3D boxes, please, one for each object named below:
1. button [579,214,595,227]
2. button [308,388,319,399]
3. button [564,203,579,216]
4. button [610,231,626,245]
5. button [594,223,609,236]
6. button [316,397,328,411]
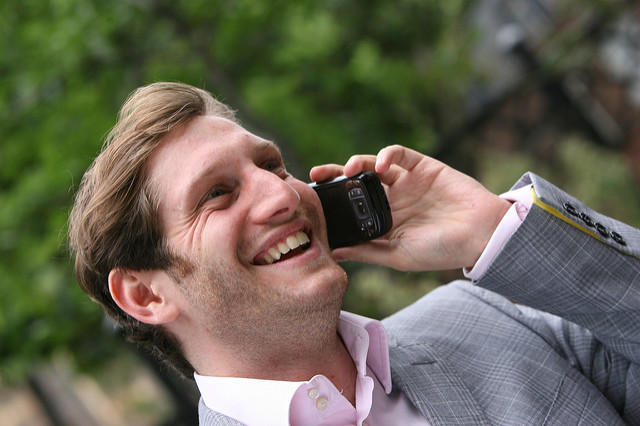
[{"bbox_3d":[1.551,0.043,4.879,0.098,0.029,0.054,30,55,-3],"label":"button"},{"bbox_3d":[-0.046,1.069,4.874,0.062,0.017,0.059,1,82,5],"label":"button"},{"bbox_3d":[1.462,-0.027,4.869,0.075,0.076,0.018,39,95,-10],"label":"button"},{"bbox_3d":[1.725,0.145,4.840,0.075,0.023,0.058,40,52,3],"label":"button"},{"bbox_3d":[1.639,0.098,4.849,0.025,0.055,0.076,-43,102,15],"label":"button"},{"bbox_3d":[0.004,1.132,4.884,0.065,0.030,0.077,1,82,5],"label":"button"}]
